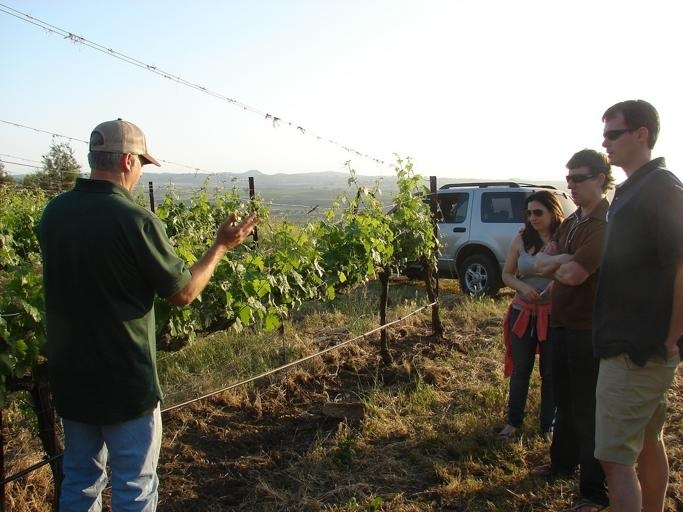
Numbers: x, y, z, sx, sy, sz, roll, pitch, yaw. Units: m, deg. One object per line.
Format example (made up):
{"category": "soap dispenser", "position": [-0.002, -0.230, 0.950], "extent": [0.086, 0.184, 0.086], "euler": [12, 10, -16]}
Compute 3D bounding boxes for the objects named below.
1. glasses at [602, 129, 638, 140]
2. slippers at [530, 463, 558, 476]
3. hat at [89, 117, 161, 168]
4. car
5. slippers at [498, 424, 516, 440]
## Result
{"category": "glasses", "position": [1.727, -0.760, 3.268], "extent": [0.172, 0.063, 0.181], "euler": [4, 5, -5]}
{"category": "slippers", "position": [1.592, 1.704, 4.155], "extent": [0.131, 0.062, 0.094], "euler": [-8, 7, 0]}
{"category": "hat", "position": [-1.292, -0.688, 3.153], "extent": [0.265, 0.272, 0.397], "euler": [3, -1, 35]}
{"category": "car", "position": [2.280, -0.264, 10.229], "extent": [1.693, 2.155, 3.527], "euler": [9, 0, -43]}
{"category": "slippers", "position": [1.459, 1.550, 4.631], "extent": [0.193, 0.095, 0.066], "euler": [-4, 0, -42]}
